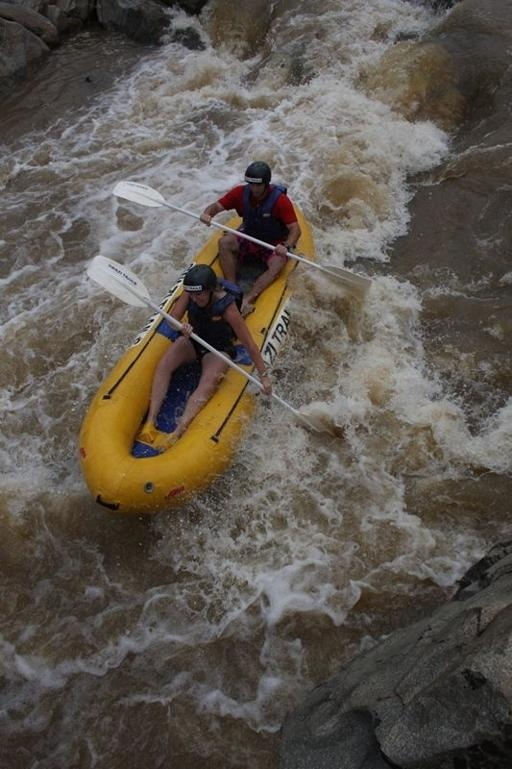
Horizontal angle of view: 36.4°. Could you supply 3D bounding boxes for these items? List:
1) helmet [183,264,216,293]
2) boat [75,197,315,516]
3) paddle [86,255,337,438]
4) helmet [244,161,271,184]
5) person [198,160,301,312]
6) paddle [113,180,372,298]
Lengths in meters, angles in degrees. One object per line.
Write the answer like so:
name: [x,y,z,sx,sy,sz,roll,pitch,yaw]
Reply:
helmet: [-0.406,-0.780,5.705,0.233,0.194,0.216,10,61,-4]
boat: [-0.371,-0.262,6.128,0.912,0.461,2.661,30,51,3]
paddle: [-0.324,-0.283,6.490,2.532,0.167,0.297,37,80,-2]
helmet: [0.026,-1.755,6.443,0.165,0.186,0.213,9,52,10]
person: [-0.023,-1.321,6.889,0.912,1.258,0.867,26,33,36]
paddle: [-0.125,-1.379,7.509,3.175,0.327,0.344,24,30,15]
